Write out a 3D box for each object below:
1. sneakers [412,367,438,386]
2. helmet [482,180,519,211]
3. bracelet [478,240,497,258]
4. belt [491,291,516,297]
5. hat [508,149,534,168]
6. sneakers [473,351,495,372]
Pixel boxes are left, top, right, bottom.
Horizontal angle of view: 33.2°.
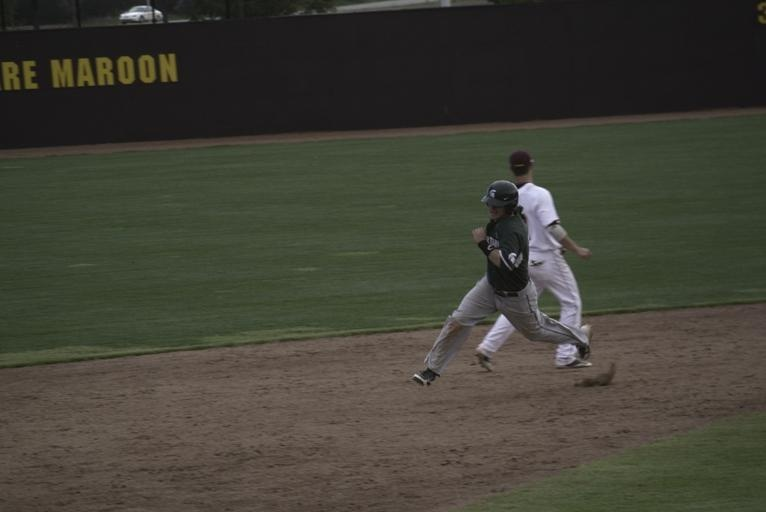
[{"bbox_3d":[0.646,1.851,19.756,0.316,0.173,0.426,-18,-6,-7],"label":"sneakers"},{"bbox_3d":[1.805,-0.933,19.562,0.613,0.414,0.325,-4,10,-8],"label":"helmet"},{"bbox_3d":[1.566,-0.139,19.387,0.268,0.286,0.118,-49,-4,-9],"label":"bracelet"},{"bbox_3d":[1.896,0.567,19.576,0.322,0.084,0.054,1,12,22],"label":"belt"},{"bbox_3d":[2.157,-1.517,20.051,0.332,0.257,0.303,-2,9,4],"label":"hat"},{"bbox_3d":[1.589,1.643,20.153,0.234,0.443,0.157,-36,31,15],"label":"sneakers"}]
